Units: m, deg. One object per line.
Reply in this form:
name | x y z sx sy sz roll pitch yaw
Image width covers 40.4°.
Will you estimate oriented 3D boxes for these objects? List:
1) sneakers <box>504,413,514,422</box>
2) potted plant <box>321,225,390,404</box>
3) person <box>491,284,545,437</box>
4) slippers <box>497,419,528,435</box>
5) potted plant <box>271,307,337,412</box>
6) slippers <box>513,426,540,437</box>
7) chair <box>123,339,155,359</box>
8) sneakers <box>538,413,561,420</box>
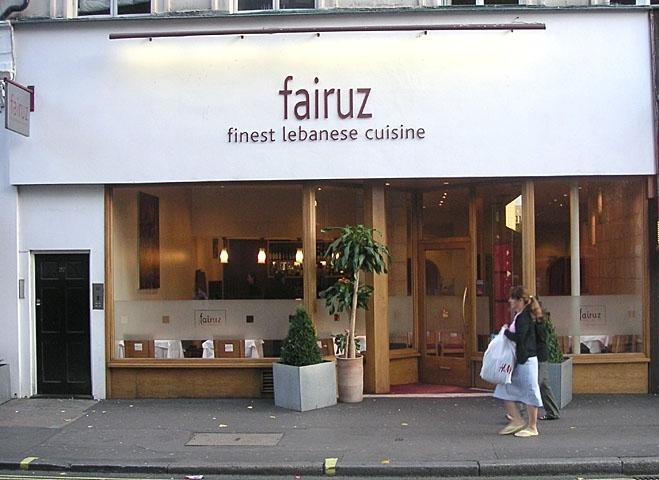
sneakers | 3.075 3.029 15.377 0.151 0.068 0.115 34 -23 -27
potted plant | 0.498 1.338 17.124 1.180 3.318 1.457 -1 13 0
person | 3.169 2.044 14.865 0.681 2.366 0.853 2 13 12
slippers | 3.051 3.127 14.891 0.502 0.158 0.208 -33 14 -10
potted plant | -0.452 2.188 16.444 1.164 1.770 0.820 -2 13 -3
slippers | 3.244 3.154 14.768 0.300 0.088 0.178 2 -5 -11
chair | -3.719 2.123 17.533 0.534 0.441 0.303 1 -2 1
sneakers | 3.796 3.050 15.482 0.362 0.181 0.134 -3 -3 4
